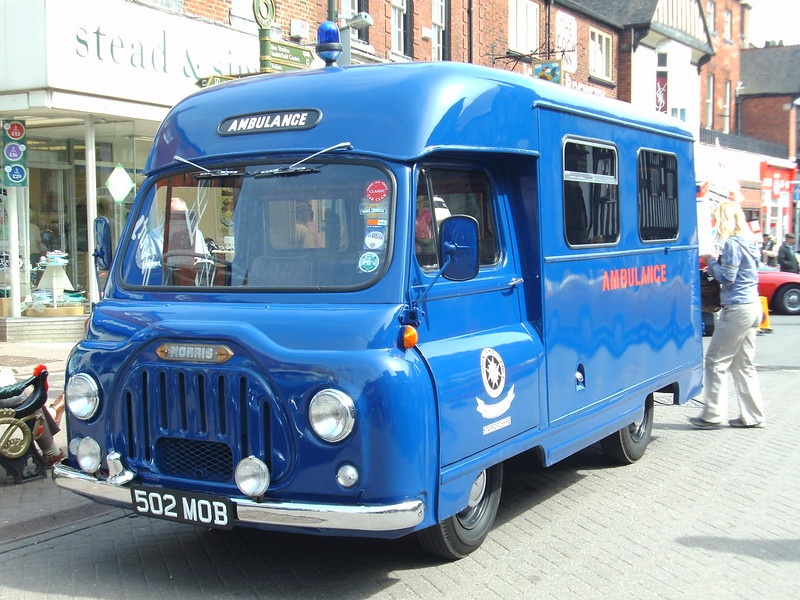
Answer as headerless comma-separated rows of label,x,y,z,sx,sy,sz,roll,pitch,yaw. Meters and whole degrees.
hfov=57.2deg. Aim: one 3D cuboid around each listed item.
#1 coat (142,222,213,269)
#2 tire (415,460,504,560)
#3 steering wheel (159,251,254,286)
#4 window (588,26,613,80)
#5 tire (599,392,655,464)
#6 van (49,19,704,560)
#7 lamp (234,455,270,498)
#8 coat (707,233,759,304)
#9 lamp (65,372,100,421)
coat,-1.637,-0.348,5.388,0.540,0.489,0.301,-2,-4,11
tire,0.388,1.427,4.971,0.193,0.691,0.609,-4,-27,34
steering wheel,-1.416,-0.227,5.180,0.412,0.343,0.204,3,3,13
window,9.198,-11.410,33.628,0.197,2.762,2.606,-6,-6,35
tire,2.208,1.254,7.153,0.236,0.777,0.697,3,9,41
van,0.271,0.003,6.728,2.878,3.523,5.610,-1,0,33
lamp,-0.885,1.062,4.410,0.198,0.251,0.103,-5,-9,10
coat,4.032,-0.314,8.968,0.616,0.980,0.779,1,-4,23
lamp,-2.124,0.642,4.905,0.233,0.298,0.140,14,2,14
